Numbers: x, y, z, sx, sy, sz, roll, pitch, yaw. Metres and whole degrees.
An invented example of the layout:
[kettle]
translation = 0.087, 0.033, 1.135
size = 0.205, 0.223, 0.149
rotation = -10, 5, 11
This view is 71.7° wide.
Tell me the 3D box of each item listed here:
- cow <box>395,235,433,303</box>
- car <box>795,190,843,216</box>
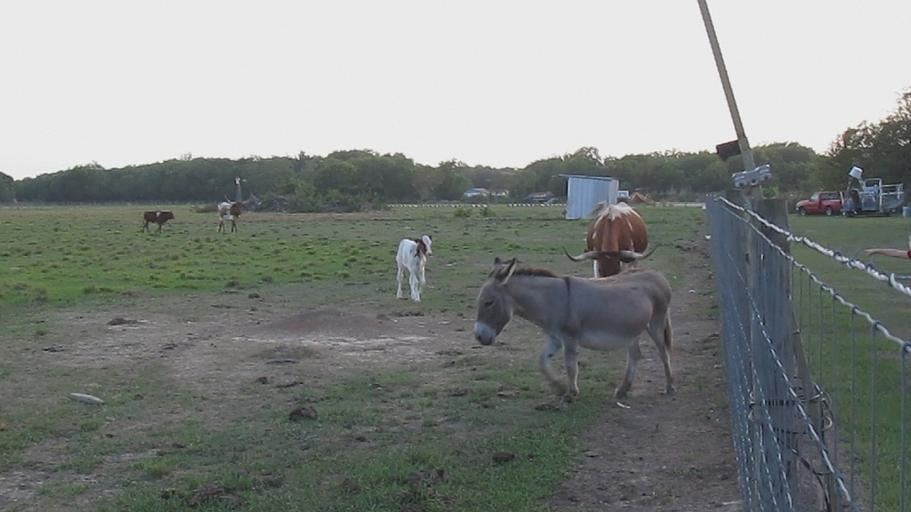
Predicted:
[cow]
translation = -1.388, 0.332, 20.658
size = 1.145, 1.798, 2.691
rotation = -2, 10, -5
[car]
translation = 29.136, -4.097, 49.851
size = 1.549, 1.815, 3.481
rotation = -5, 11, -20
